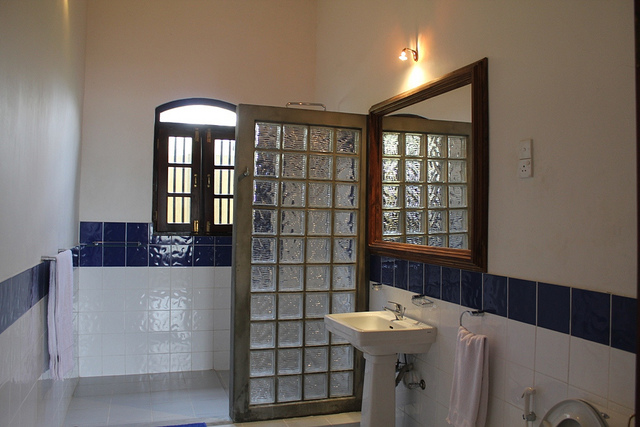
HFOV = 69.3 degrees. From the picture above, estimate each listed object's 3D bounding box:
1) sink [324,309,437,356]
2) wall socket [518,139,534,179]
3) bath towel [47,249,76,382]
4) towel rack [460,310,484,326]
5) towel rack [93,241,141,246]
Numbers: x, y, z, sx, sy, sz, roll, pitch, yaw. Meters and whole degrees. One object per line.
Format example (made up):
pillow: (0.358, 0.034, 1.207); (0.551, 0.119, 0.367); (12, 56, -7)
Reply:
sink: (0.451, 0.967, 3.607); (0.677, 0.298, 0.605); (0, 1, -22)
wall socket: (1.273, -0.333, 2.857); (0.022, 0.238, 0.101); (0, 1, -27)
bath towel: (-1.885, 0.719, 3.229); (0.160, 0.930, 0.437); (1, 0, -13)
towel rack: (1.028, 0.714, 3.153); (0.050, 0.146, 0.205); (0, 1, -23)
towel rack: (-2.165, 0.321, 4.949); (0.472, 0.042, 0.060); (0, 1, -7)
